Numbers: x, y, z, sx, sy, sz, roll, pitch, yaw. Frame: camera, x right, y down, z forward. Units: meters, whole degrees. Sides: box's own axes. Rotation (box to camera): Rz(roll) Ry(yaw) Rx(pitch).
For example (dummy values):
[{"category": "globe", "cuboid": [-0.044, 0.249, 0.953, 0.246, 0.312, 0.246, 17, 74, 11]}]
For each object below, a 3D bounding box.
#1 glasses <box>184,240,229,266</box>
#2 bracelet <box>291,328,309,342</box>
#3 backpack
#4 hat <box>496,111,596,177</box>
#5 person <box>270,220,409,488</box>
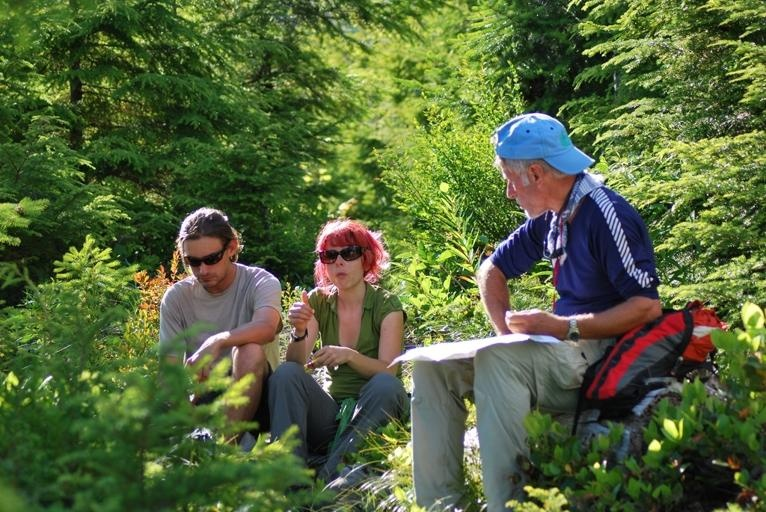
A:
[{"category": "glasses", "cuboid": [-1.288, -0.007, 5.480, 0.331, 0.190, 0.138, -9, 0, -18]}, {"category": "bracelet", "cuboid": [-0.609, 0.559, 5.478, 0.107, 0.076, 0.107, -19, -8, 35]}, {"category": "backpack", "cuboid": [1.552, 0.740, 4.466, 0.976, 0.368, 0.716, -40, 37, 8]}, {"category": "hat", "cuboid": [1.070, -0.778, 4.901, 0.452, 0.309, 0.692, -26, 31, -38]}, {"category": "person", "cuboid": [-0.328, 0.617, 5.426, 1.157, 1.910, 0.871, -8, 0, -24]}]
